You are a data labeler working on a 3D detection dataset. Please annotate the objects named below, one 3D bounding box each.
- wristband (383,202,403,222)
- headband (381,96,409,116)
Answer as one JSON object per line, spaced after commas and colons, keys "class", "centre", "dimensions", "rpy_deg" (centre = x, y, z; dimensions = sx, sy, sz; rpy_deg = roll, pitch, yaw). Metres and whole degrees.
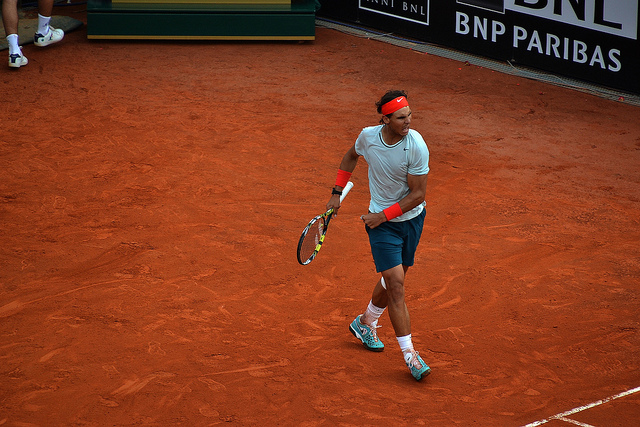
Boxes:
{"class": "wristband", "centre": [0.714, -0.009, 5.761], "dimensions": [0.191, 0.136, 0.175], "rpy_deg": [-23, -13, 1]}
{"class": "headband", "centre": [0.738, -1.053, 5.636], "dimensions": [0.236, 0.092, 0.191], "rpy_deg": [-25, -1, 37]}
